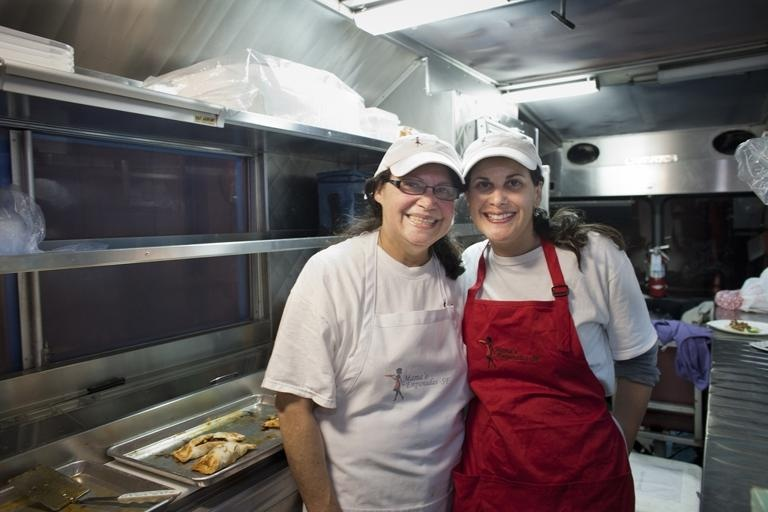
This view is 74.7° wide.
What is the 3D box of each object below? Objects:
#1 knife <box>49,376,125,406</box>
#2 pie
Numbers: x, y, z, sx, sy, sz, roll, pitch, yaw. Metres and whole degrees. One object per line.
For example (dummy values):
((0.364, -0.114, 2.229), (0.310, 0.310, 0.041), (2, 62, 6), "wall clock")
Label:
((-1.406, 0.631, 2.343), (0.284, 0.041, 0.072), (-20, -7, -31), "knife")
((-0.720, 0.824, 2.154), (0.309, 0.076, 0.278), (5, 7, 43), "pie")
